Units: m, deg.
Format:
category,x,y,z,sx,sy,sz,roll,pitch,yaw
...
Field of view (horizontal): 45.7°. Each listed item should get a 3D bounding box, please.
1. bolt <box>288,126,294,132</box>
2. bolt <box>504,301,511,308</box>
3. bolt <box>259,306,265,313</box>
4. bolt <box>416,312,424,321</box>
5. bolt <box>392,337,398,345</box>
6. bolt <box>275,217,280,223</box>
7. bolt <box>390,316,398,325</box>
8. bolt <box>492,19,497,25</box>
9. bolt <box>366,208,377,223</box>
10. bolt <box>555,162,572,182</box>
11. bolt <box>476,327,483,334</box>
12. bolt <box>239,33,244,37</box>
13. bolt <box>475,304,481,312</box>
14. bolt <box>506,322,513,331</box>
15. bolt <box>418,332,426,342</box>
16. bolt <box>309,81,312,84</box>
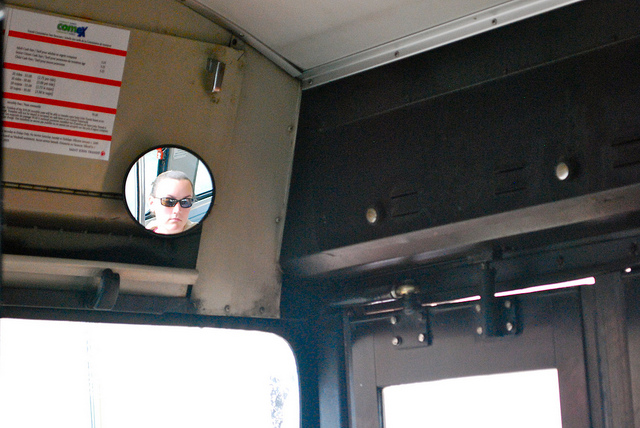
category,x,y,z,sx,sy,sz,roll,pitch,yaw
bolt,-0.134,-0.381,3.425,0.017,0.022,0.005,4,-6,-25
bolt,0.742,0.358,3.003,0.028,0.025,0.008,-12,-20,43
bolt,-0.258,0.423,3.344,0.025,0.025,0.005,12,-18,-35
bolt,0.425,0.434,3.220,0.033,0.034,0.006,-12,-20,43
bolt,0.322,0.547,3.275,0.029,0.032,0.008,-11,-19,40
bolt,-0.194,0.027,3.394,0.023,0.025,0.005,9,-17,-29
bolt,0.318,0.462,3.288,0.040,0.035,0.012,-9,-18,35
bolt,0.668,-0.734,2.905,0.025,0.024,0.006,1,0,29
bolt,0.208,0.008,3.106,0.049,0.050,0.014,0,1,42
bolt,0.852,-0.145,2.677,0.060,0.059,0.016,-2,2,44
bolt,0.640,0.464,3.033,0.013,0.026,0.045,4,-14,-11
bolt,-0.339,-0.766,3.264,0.012,0.007,0.012,4,-48,45
bolt,0.634,0.380,3.055,0.003,0.026,0.022,13,-18,-37
bolt,0.745,0.444,2.985,0.025,0.025,0.005,-4,1,29
bolt,0.428,0.518,3.202,0.036,0.039,0.007,-10,-19,39
bolt,-0.044,-0.588,3.414,0.015,0.015,0.001,-9,-18,36
